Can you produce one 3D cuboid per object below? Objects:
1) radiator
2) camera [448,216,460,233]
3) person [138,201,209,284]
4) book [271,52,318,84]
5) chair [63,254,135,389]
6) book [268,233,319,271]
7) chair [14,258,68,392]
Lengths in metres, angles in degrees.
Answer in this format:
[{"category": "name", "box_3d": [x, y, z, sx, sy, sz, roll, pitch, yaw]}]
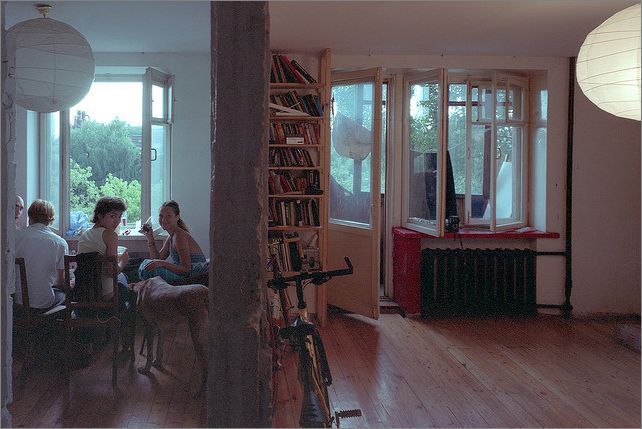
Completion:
[{"category": "radiator", "box_3d": [1.868, 0.810, 6.321, 1.373, 0.766, 0.129, 1, -22, 18]}, {"category": "camera", "box_3d": [1.581, 0.120, 6.302, 0.181, 0.220, 0.163, -1, 1, -2]}, {"category": "person", "box_3d": [-1.528, 0.425, 5.309, 0.676, 1.039, 0.579, 4, -7, -23]}, {"category": "book", "box_3d": [-0.324, -1.686, 5.970, 0.501, 0.373, 0.216, 0, 5, -1]}, {"category": "chair", "box_3d": [-1.914, 0.884, 4.442, 0.583, 1.125, 0.286, 0, 5, 4]}, {"category": "book", "box_3d": [-0.312, 0.428, 5.784, 0.245, 0.419, 0.451, -8, -3, 42]}, {"category": "chair", "box_3d": [-2.417, 0.902, 4.444, 0.399, 1.049, 0.293, -3, 6, -30]}]
